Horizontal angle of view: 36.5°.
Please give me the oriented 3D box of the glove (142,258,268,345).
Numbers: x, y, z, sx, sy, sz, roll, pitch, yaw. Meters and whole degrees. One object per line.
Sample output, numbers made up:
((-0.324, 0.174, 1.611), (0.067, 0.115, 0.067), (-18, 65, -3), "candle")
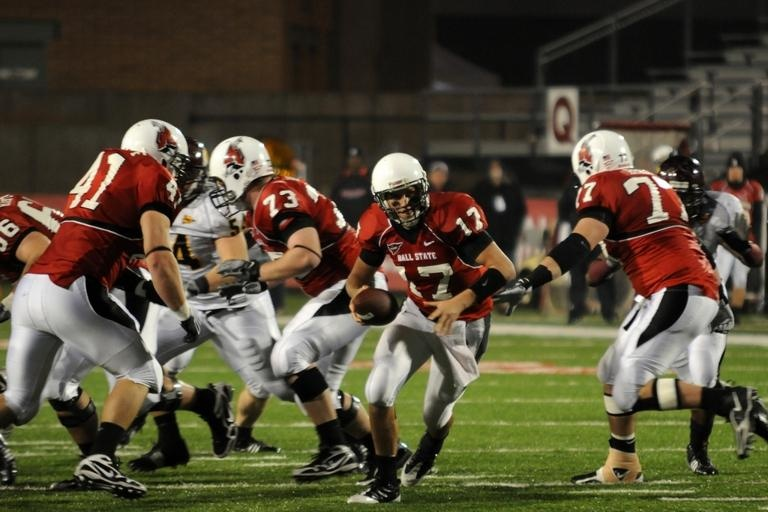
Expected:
((-1.154, 0.276, 8.651), (0.710, 0.272, 0.667), (14, -46, -26), "glove")

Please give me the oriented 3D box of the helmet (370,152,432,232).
((0.138, -0.440, 8.209), (0.426, 0.437, 0.531), (-16, -4, -1), "helmet")

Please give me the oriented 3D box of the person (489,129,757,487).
((1.902, 0.505, 8.336), (1.654, 2.242, 0.485), (0, 4, 5), "person")

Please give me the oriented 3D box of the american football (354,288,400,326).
((-0.067, 0.396, 8.359), (0.316, 0.376, 0.396), (0, 5, -7), "american football")
